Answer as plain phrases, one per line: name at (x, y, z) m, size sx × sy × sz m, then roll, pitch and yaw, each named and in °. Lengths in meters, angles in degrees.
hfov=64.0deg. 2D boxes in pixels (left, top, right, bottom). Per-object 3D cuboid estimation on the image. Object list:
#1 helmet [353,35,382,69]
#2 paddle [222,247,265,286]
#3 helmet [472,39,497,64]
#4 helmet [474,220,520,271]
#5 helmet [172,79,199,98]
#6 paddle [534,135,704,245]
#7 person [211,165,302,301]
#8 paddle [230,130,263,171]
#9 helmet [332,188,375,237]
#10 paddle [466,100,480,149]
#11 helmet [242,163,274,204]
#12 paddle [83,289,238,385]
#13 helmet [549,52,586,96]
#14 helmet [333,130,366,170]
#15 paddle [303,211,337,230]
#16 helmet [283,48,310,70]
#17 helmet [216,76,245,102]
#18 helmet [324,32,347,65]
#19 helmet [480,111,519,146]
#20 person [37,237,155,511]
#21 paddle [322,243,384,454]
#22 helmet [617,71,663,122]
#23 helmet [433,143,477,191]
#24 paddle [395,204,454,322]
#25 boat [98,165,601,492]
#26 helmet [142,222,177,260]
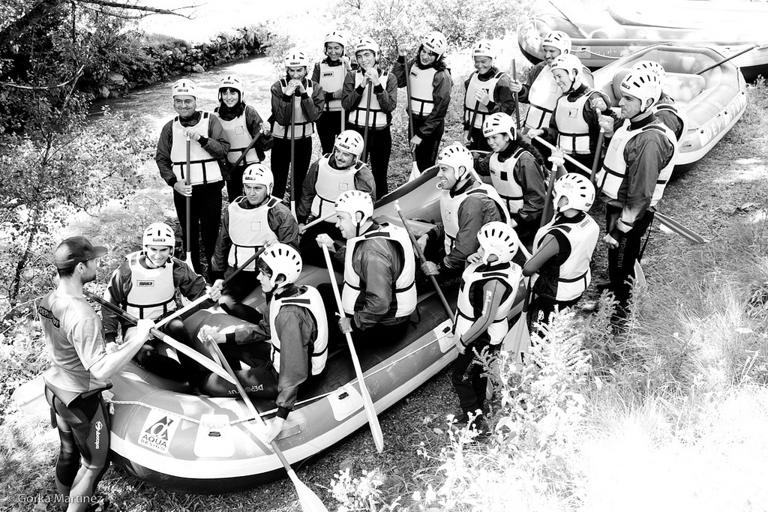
helmet at (-0.252, -3.032, 9.170) m, size 0.321 × 0.430 × 0.494 m, roll 2°, pitch 28°, yaw 6°
paddle at (-1.629, 0.126, 7.222) m, size 0.095 × 0.640 × 0.091 m, roll 54°, pitch 21°, yaw 15°
helmet at (1.472, -3.039, 9.132) m, size 0.245 × 0.354 × 0.348 m, roll 5°, pitch 26°, yaw 22°
helmet at (1.148, -0.094, 6.234) m, size 0.447 × 0.404 × 0.348 m, roll 25°, pitch 23°, yaw -12°
helmet at (-2.581, -2.164, 8.097) m, size 0.318 × 0.261 × 0.470 m, roll 0°, pitch 14°, yaw -6°
paddle at (2.826, -0.795, 7.650) m, size 2.285 × 0.201 × 0.142 m, roll 43°, pitch 36°, yaw 9°
person at (-1.563, -0.236, 7.334) m, size 0.946 × 1.636 × 0.958 m, roll 16°, pitch 32°, yaw 0°
paddle at (-1.923, -1.495, 8.592) m, size 0.137 × 0.850 × 0.140 m, roll 38°, pitch 13°, yaw -13°
helmet at (-0.319, -0.453, 6.585) m, size 0.421 × 0.550 × 0.385 m, roll 0°, pitch 10°, yaw -2°
paddle at (1.347, -2.014, 9.541) m, size 0.093 × 0.716 × 0.111 m, roll -18°, pitch 47°, yaw -28°
helmet at (-1.456, -0.877, 7.308) m, size 0.312 × 0.465 × 0.461 m, roll 1°, pitch 25°, yaw 5°
paddle at (-2.002, 0.922, 6.149) m, size 1.149 × 1.177 × 0.050 m, roll 35°, pitch 35°, yaw -8°
helmet at (2.395, -2.489, 8.424) m, size 0.486 × 0.561 × 0.395 m, roll -21°, pitch 12°, yaw -18°
helmet at (-0.448, -1.382, 7.954) m, size 0.325 × 0.441 × 0.468 m, roll 20°, pitch 47°, yaw 6°
paddle at (-0.841, -0.471, 8.194) m, size 0.071 × 0.084 × 0.496 m, roll -31°, pitch 2°, yaw -44°
helmet at (-1.235, -2.718, 8.751) m, size 0.229 × 0.348 × 0.276 m, roll 3°, pitch 43°, yaw -3°
helmet at (-2.122, -2.353, 8.618) m, size 0.276 × 0.388 × 0.432 m, roll 2°, pitch 28°, yaw 0°
helmet at (-0.695, -3.182, 9.446) m, size 0.298 × 0.451 × 0.476 m, roll 0°, pitch 63°, yaw 1°
helmet at (1.466, -1.599, 7.692) m, size 0.388 × 0.329 × 0.292 m, roll 31°, pitch -11°, yaw -23°
person at (-2.782, 1.286, 6.030) m, size 1.155 × 2.724 × 1.046 m, roll 29°, pitch 32°, yaw 19°
paddle at (-0.311, 1.085, 6.625) m, size 0.156 × 2.345 × 0.116 m, roll -6°, pitch -15°, yaw -44°
helmet at (2.896, -1.909, 7.122) m, size 0.449 × 0.561 × 0.423 m, roll -7°, pitch 43°, yaw -3°
helmet at (0.838, -1.040, 7.119) m, size 0.425 × 0.528 × 0.389 m, roll -8°, pitch 11°, yaw -11°
paddle at (0.490, 0.146, 7.329) m, size 0.103 × 1.521 × 0.145 m, roll -21°, pitch -4°, yaw -39°
boat at (-0.369, 1.094, 7.088) m, size 4.946 × 1.241 × 2.282 m, roll -29°, pitch 54°, yaw -35°
helmet at (-2.396, -0.171, 6.590) m, size 0.266 × 0.410 × 0.340 m, roll 2°, pitch 3°, yaw -10°
